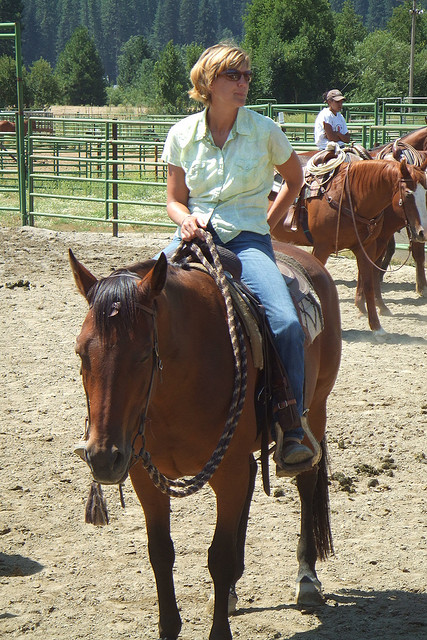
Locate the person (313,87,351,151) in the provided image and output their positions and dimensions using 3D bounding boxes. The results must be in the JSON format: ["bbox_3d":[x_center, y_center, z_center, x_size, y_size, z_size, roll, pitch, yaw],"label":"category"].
[{"bbox_3d":[1.384,-2.226,9.858,0.460,0.716,0.443,0,7,-17],"label":"person"}]

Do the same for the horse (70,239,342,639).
[{"bbox_3d":[0.013,0.433,2.945,0.592,1.345,1.439,4,8,22],"label":"horse"}]

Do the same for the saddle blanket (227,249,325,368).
[{"bbox_3d":[0.241,-0.054,3.166,0.322,0.469,0.448,-5,16,-20],"label":"saddle blanket"}]
